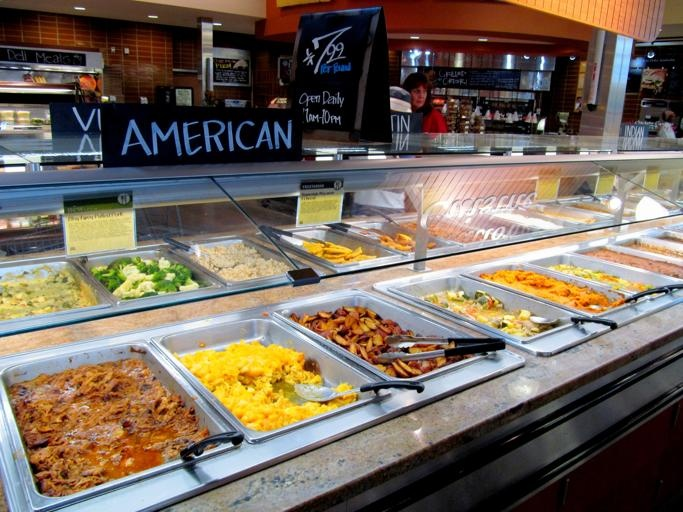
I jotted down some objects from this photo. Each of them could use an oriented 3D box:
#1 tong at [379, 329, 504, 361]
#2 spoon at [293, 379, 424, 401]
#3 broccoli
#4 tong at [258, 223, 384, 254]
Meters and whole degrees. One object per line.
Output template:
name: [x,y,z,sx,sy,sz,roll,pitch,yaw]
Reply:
tong: [0.330,0.291,1.511,0.367,0.033,0.131,-2,4,5]
spoon: [0.059,0.396,1.388,0.490,0.047,0.086,-3,-6,19]
broccoli: [-0.628,0.052,1.574,0.314,0.102,0.291,-12,21,-36]
tong: [-0.077,-0.071,1.805,0.196,0.039,0.257,-8,20,-40]
